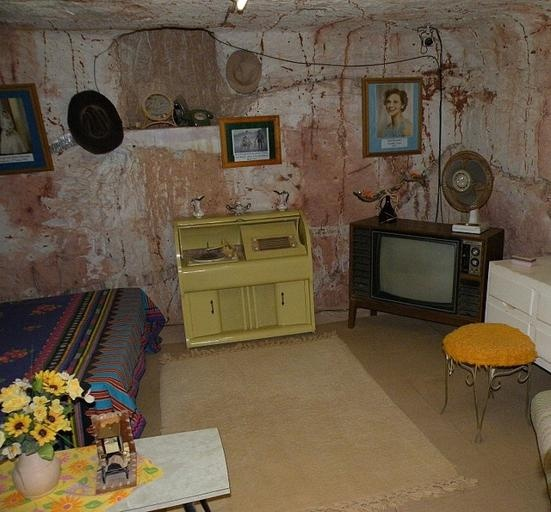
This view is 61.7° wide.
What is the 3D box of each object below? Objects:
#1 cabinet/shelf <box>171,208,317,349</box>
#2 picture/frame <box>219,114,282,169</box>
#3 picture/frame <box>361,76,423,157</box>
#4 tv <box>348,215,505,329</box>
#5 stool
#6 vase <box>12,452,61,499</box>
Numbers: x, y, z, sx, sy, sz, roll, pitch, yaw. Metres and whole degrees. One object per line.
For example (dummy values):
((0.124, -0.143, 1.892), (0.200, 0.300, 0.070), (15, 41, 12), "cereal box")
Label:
((-0.286, 0.228, 4.363), (1.429, 1.172, 0.514), (-4, 17, -11), "cabinet/shelf")
((-0.275, -1.157, 4.578), (0.618, 0.430, 0.041), (-4, 13, -10), "picture/frame")
((1.178, -1.485, 4.798), (0.935, 0.914, 0.061), (-3, 13, -9), "picture/frame")
((1.335, 0.132, 4.082), (1.111, 0.726, 0.436), (11, 23, 33), "tv")
((1.430, 0.773, 3.156), (0.621, 0.481, 0.560), (-9, 15, -29), "stool")
((-1.016, 0.902, 1.977), (0.159, 0.188, 0.155), (-2, 11, 28), "vase")
